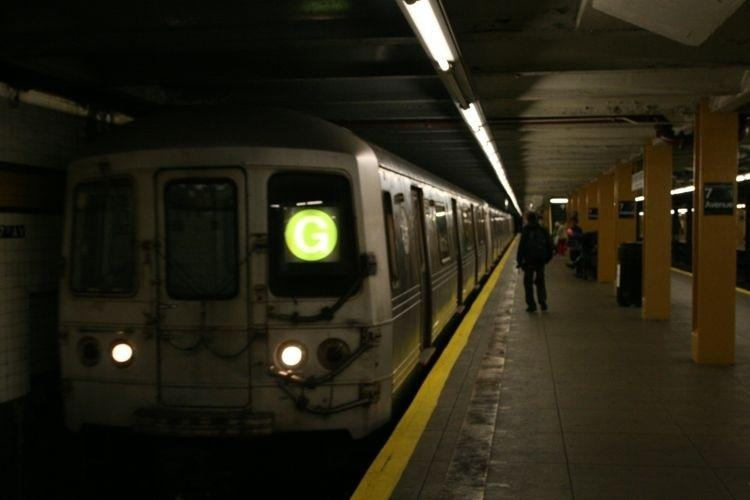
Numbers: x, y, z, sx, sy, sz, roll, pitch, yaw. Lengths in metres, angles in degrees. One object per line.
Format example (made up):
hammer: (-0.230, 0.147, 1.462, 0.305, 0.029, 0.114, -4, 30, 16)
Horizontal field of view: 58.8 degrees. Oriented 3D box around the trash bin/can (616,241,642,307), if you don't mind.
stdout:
trash bin/can: (5.471, 0.520, 14.191, 0.480, 1.389, 0.362, 2, 9, 18)
